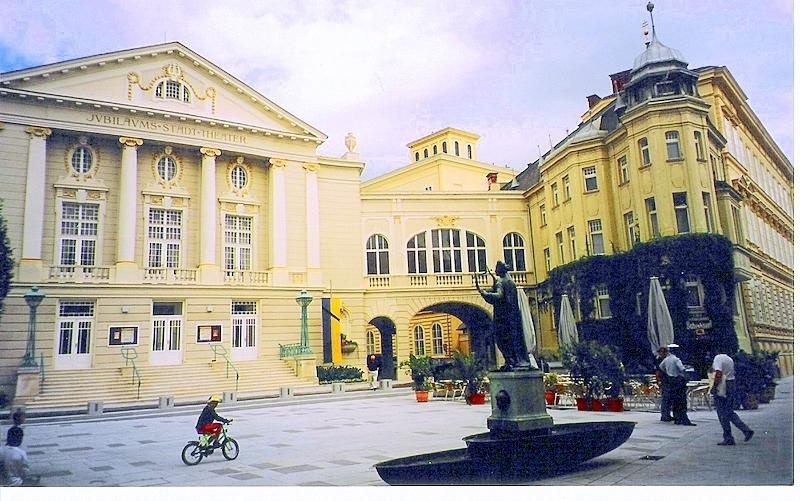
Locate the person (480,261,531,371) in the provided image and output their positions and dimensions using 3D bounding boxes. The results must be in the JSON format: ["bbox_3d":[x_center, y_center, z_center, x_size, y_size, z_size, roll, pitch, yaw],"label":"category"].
[{"bbox_3d":[2.958,1.811,16.092,1.038,3.079,1.522,-5,-12,8],"label":"person"}]

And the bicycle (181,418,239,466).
[{"bbox_3d":[-5.347,5.514,16.358,0.850,1.022,1.760,-17,-20,41],"label":"bicycle"}]

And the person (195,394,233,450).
[{"bbox_3d":[-5.392,4.886,16.386,0.726,1.340,1.217,1,-12,-18],"label":"person"}]

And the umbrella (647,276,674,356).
[{"bbox_3d":[12.021,2.975,26.797,1.019,3.639,1.873,-8,-13,23],"label":"umbrella"}]
